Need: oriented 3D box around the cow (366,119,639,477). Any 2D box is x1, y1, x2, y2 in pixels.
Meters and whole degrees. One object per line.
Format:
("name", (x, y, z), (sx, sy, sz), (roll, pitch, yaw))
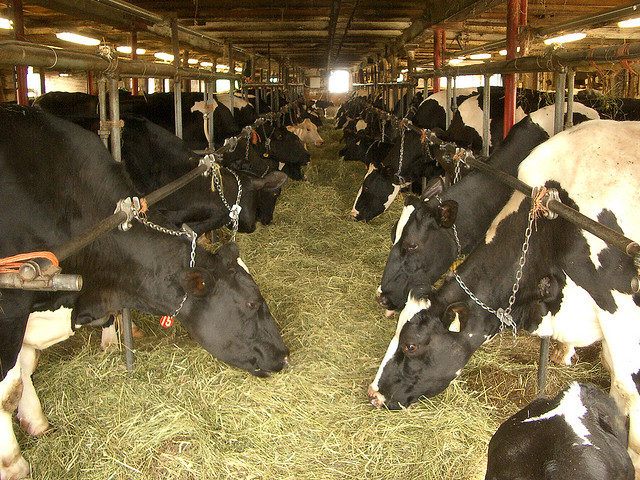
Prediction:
("cow", (1.355, 0.263, 3.263), (1.466, 1.957, 0.996), (13, 20, 31))
